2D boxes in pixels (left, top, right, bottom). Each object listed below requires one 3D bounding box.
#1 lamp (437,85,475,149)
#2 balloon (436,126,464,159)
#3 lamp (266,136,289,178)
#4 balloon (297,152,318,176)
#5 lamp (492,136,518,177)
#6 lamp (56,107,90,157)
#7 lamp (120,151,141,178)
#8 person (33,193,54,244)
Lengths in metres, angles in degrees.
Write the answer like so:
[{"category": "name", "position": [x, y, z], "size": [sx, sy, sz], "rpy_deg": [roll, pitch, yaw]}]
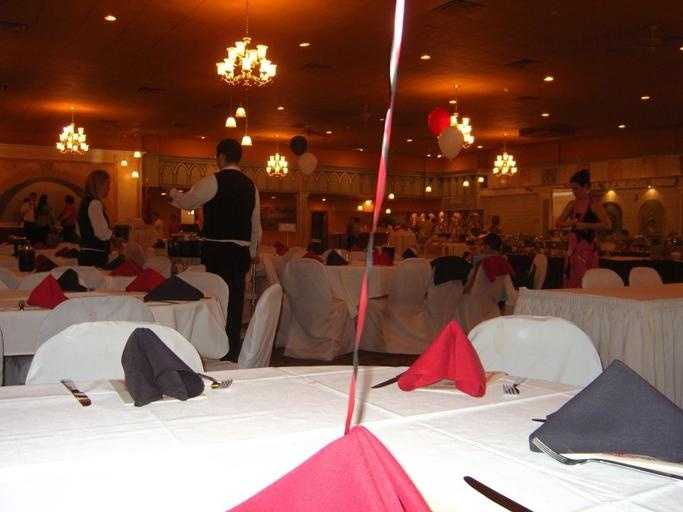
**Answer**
[{"category": "lamp", "position": [2.169, -2.653, 10.382], "size": [0.411, 1.051, 0.409], "rpy_deg": [-7, 7, -32]}, {"category": "balloon", "position": [1.799, -1.922, 9.281], "size": [0.420, 0.607, 0.468], "rpy_deg": [-2, -2, 7]}, {"category": "lamp", "position": [-1.661, -2.606, 14.389], "size": [0.543, 1.134, 0.546], "rpy_deg": [4, 2, 31]}, {"category": "balloon", "position": [-0.747, -2.077, 12.218], "size": [0.331, 0.491, 0.682], "rpy_deg": [3, 3, 1]}, {"category": "lamp", "position": [4.369, -2.696, 14.798], "size": [0.497, 1.101, 0.480], "rpy_deg": [0, 0, 26]}, {"category": "lamp", "position": [-5.956, -2.837, 12.268], "size": [0.603, 1.113, 0.684], "rpy_deg": [-1, -2, 19]}, {"category": "lamp", "position": [-5.831, -2.539, 15.411], "size": [0.691, 0.748, 0.306], "rpy_deg": [5, 4, 29]}, {"category": "person", "position": [-7.329, -0.949, 13.629], "size": [0.403, 1.169, 1.897], "rpy_deg": [1, 4, -28]}]
